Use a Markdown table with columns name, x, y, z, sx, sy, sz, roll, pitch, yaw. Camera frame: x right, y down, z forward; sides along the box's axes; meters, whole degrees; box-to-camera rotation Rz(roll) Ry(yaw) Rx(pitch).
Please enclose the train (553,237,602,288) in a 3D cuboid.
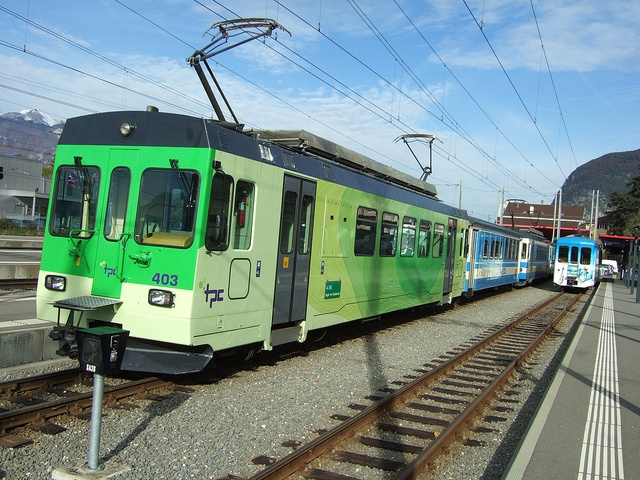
| name | x | y | z | sx | sy | sz | roll | pitch | yaw |
| --- | --- | --- | --- | --- | --- | --- | --- | --- | --- |
| train | 17.838 | 1.569 | 30.171 | 2.650 | 3.265 | 1.643 | 4 | 0 | 16 |
